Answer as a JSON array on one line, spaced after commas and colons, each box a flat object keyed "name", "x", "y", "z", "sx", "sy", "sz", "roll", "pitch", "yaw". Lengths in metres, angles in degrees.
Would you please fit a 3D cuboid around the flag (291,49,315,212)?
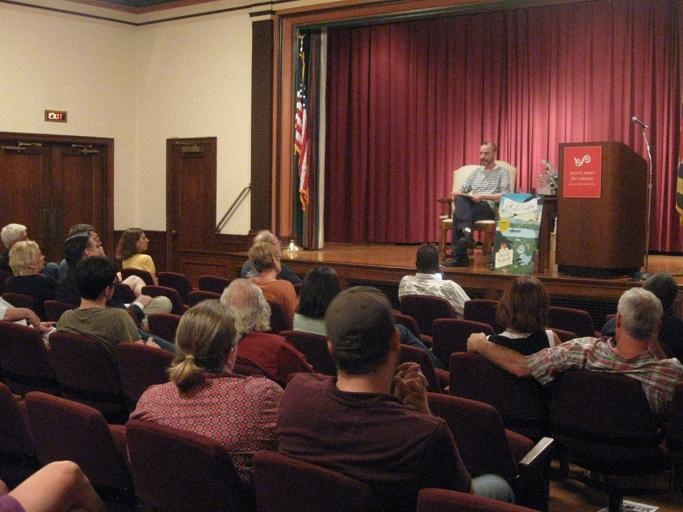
[{"name": "flag", "x": -0.604, "y": -1.961, "z": 8.613, "sx": 0.244, "sy": 2.503, "sz": 0.571, "roll": 0, "pitch": 6, "yaw": 5}]
